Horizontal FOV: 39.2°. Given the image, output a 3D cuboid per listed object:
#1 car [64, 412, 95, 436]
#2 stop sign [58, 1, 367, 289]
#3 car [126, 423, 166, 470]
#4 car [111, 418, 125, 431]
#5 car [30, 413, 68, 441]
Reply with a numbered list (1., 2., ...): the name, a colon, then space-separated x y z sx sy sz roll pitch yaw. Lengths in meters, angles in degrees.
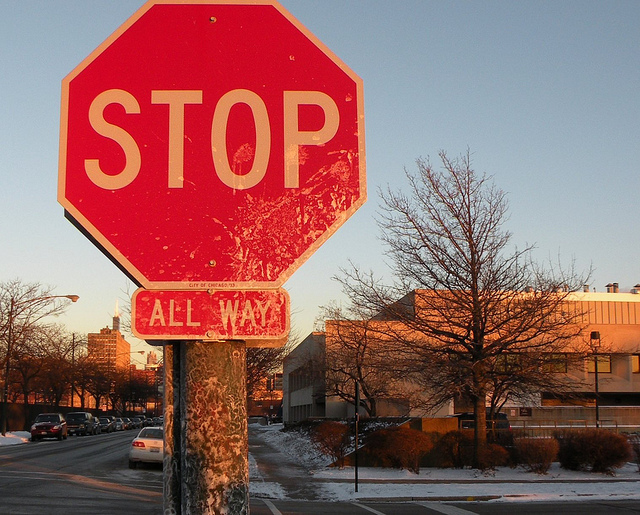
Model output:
1. car: -12.079 8.405 45.355 1.108 1.059 2.241 1 -2 -3
2. stop sign: -0.449 -0.397 3.587 1.144 1.094 0.078 -2 -13 -5
3. car: -4.192 4.627 21.771 0.775 0.955 1.563 3 -10 -12
4. car: -12.844 10.653 57.340 0.832 0.638 1.514 1 -19 -8
5. car: -11.704 7.381 39.087 1.431 1.105 1.881 4 -11 -17
